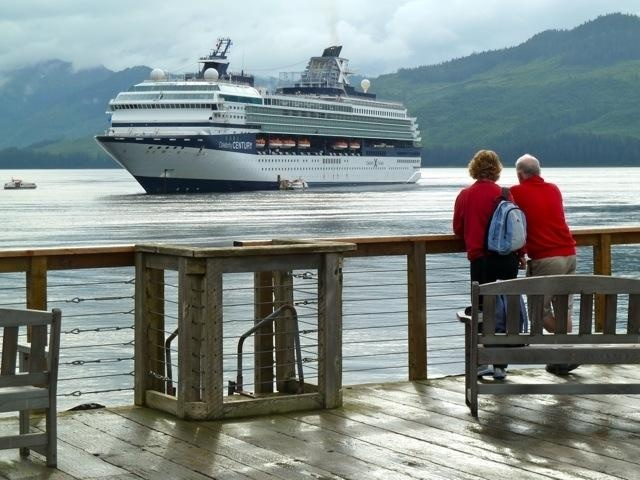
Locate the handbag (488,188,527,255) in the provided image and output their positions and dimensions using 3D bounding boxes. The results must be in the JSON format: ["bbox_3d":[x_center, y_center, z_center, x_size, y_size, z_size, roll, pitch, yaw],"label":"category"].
[{"bbox_3d":[1.398,-0.136,7.356,0.249,0.502,0.249,-6,16,-24],"label":"handbag"}]

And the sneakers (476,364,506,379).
[{"bbox_3d":[1.345,1.022,7.654,0.108,0.098,0.272,2,4,3],"label":"sneakers"}]
